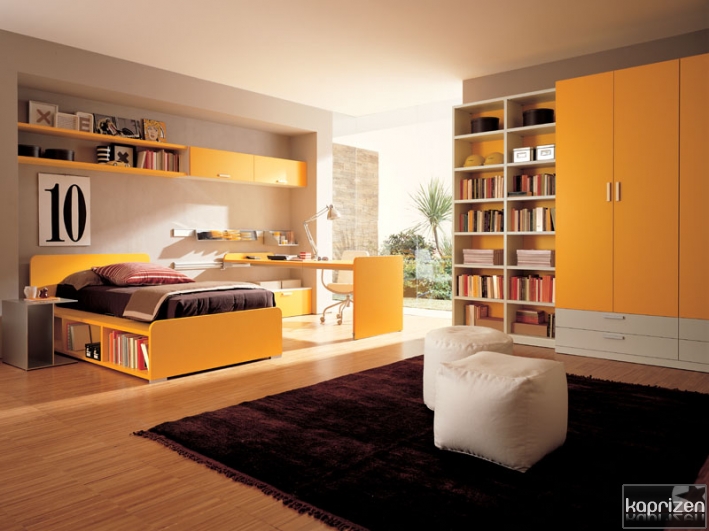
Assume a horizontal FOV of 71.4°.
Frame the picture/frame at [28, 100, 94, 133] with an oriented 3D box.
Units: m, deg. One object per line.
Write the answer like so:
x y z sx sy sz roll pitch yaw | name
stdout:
-3.103 -1.587 5.271 0.632 0.263 0.216 -4 6 -39 | picture/frame

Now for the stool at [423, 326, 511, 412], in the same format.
0.721 0.688 3.374 0.633 0.457 0.552 -2 0 9 | stool

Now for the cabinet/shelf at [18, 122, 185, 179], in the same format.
-2.805 -1.274 5.541 0.322 0.410 1.717 4 6 42 | cabinet/shelf

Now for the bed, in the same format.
-1.979 0.416 4.742 1.914 0.833 1.349 2 2 40 | bed

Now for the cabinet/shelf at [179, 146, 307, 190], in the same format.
-1.477 -1.345 6.828 1.888 0.393 0.202 -5 6 -45 | cabinet/shelf

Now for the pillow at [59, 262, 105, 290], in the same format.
-2.782 0.104 5.016 0.293 0.080 0.314 -16 14 -38 | pillow

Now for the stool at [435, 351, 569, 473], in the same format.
0.714 0.718 2.610 0.617 0.418 0.648 -2 -4 -44 | stool

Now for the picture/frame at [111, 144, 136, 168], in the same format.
-2.664 -1.277 5.692 0.027 0.323 0.382 -2 -1 33 | picture/frame
